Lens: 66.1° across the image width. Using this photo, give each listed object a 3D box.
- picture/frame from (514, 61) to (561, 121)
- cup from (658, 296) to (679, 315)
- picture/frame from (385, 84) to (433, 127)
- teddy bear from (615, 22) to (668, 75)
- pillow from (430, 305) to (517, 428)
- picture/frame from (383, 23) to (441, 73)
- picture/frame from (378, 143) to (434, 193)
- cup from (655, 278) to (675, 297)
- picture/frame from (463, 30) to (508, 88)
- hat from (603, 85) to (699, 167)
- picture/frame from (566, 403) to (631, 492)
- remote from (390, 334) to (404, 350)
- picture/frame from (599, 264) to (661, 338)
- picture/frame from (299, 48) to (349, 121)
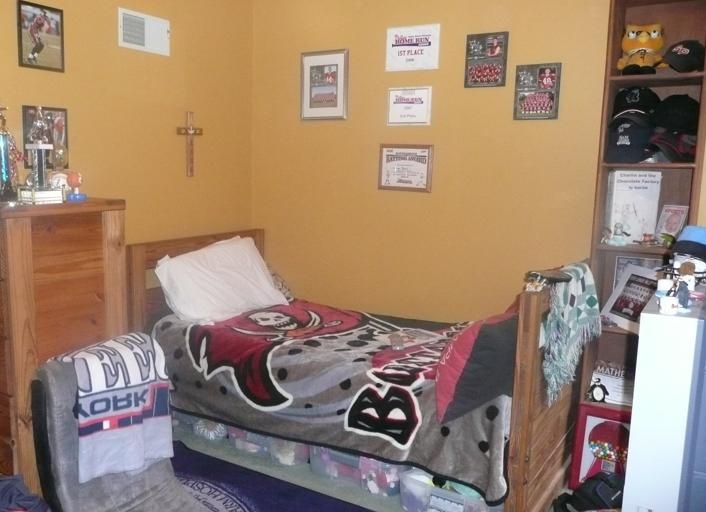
[{"bbox_3d":[1.137,-1.012,3.299,0.323,0.397,0.027,7,11,24],"label":"picture/frame"},{"bbox_3d":[1.099,0.172,1.886,0.060,0.055,0.057,-1,3,0],"label":"cup"},{"bbox_3d":[0.391,-1.013,3.629,0.274,0.241,0.029,6,13,26],"label":"picture/frame"},{"bbox_3d":[1.532,-1.094,2.881,0.216,0.269,0.153,3,13,19],"label":"teddy bear"},{"bbox_3d":[0.531,0.496,2.357,0.332,0.500,0.103,4,11,17],"label":"pillow"},{"bbox_3d":[0.407,-1.381,3.581,0.347,0.269,0.035,2,8,26],"label":"picture/frame"},{"bbox_3d":[0.377,-0.604,3.676,0.318,0.282,0.032,6,11,23],"label":"picture/frame"},{"bbox_3d":[1.171,0.127,2.065,0.050,0.085,0.083,0,1,-8],"label":"cup"},{"bbox_3d":[0.841,-1.243,3.397,0.352,0.419,0.021,2,6,20],"label":"picture/frame"},{"bbox_3d":[1.548,-0.686,2.921,0.520,0.316,0.317,12,12,0],"label":"hat"},{"bbox_3d":[1.273,0.962,2.792,0.360,0.410,0.092,7,5,19],"label":"picture/frame"},{"bbox_3d":[0.241,0.480,3.008,0.062,0.065,0.105,7,21,-10],"label":"remote"},{"bbox_3d":[1.464,0.228,2.865,0.092,0.405,0.338,36,-10,-35],"label":"picture/frame"},{"bbox_3d":[-0.190,-1.233,3.854,0.490,0.593,0.041,2,5,21],"label":"picture/frame"}]
